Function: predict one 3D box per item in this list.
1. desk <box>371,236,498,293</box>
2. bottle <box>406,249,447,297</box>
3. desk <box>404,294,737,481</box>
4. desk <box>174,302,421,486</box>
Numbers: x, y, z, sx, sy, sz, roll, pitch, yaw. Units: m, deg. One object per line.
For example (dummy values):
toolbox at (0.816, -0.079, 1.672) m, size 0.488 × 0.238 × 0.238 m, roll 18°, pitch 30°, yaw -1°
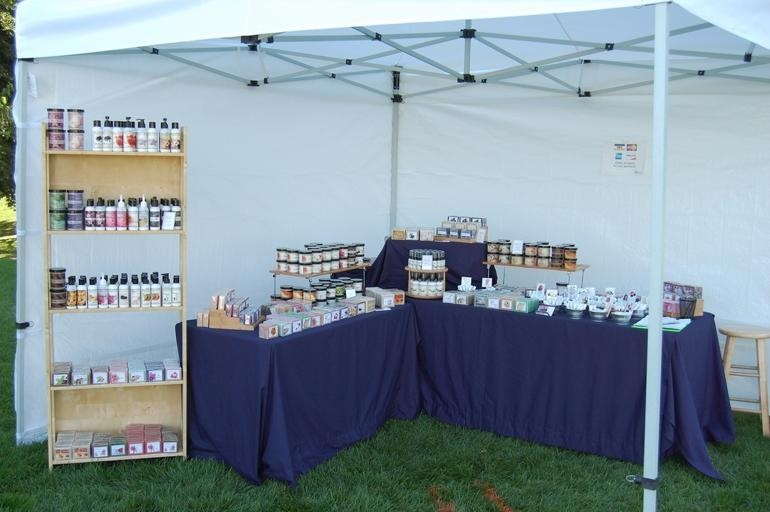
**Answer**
desk at (0.458, 0.116, 7.328) m, size 1.660 × 0.690 × 0.519 m, roll 2°, pitch -13°, yaw 41°
bottle at (0.469, 0.190, 6.876) m, size 0.475 × 0.471 × 0.503 m, roll 1°, pitch 4°, yaw 14°
desk at (1.876, 1.166, 6.372) m, size 2.586 × 0.944 × 1.600 m, roll 2°, pitch 6°, yaw 28°
desk at (-0.832, 1.300, 6.448) m, size 1.694 × 1.158 × 2.505 m, roll -1°, pitch 4°, yaw 31°
